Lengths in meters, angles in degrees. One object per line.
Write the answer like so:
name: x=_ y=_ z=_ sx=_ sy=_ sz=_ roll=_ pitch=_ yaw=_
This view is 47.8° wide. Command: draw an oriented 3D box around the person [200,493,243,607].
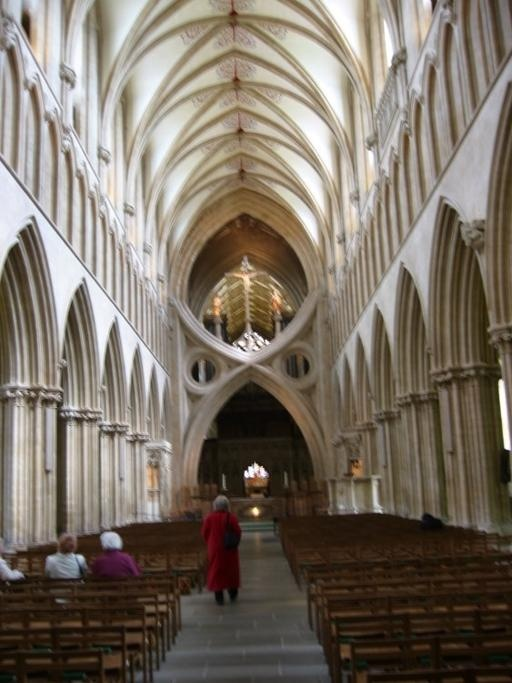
person: x=-0.474 y=2.848 z=8.250 sx=0.456 sy=1.754 sz=0.503 roll=-3 pitch=20 yaw=-5

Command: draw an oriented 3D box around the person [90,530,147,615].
person: x=-1.421 y=2.255 z=5.807 sx=0.533 sy=0.847 sz=0.405 roll=0 pitch=-3 yaw=-1
